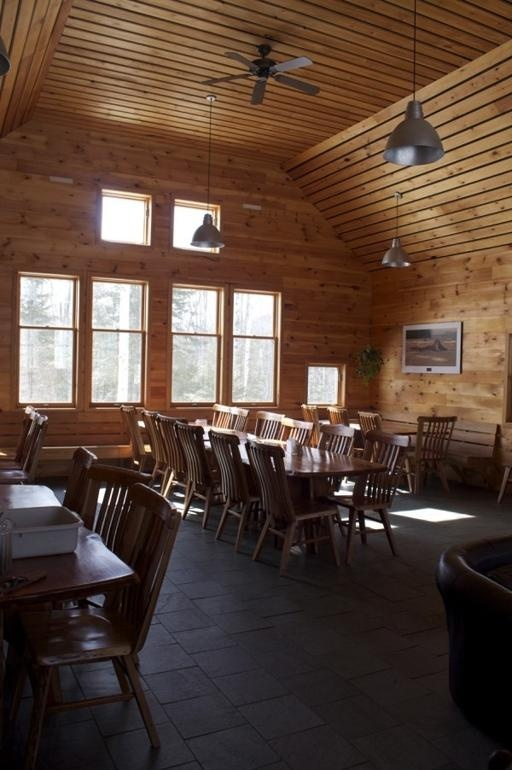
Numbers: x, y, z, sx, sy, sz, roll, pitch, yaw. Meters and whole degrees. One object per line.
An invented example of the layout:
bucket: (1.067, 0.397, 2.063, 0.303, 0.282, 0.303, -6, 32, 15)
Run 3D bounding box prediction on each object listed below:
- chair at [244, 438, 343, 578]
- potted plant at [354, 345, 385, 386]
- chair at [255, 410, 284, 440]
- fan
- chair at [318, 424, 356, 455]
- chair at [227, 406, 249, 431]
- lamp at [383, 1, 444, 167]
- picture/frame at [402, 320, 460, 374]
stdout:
chair: (0.277, 0.793, 3.989, 0.655, 0.632, 0.952, 3, 2, 12)
potted plant: (1.756, -0.326, 8.910, 0.447, 0.517, 0.313, 1, 14, 15)
chair: (0.153, 0.421, 6.027, 0.267, 0.405, 0.296, -1, -3, 36)
fan: (0.065, -2.732, 5.047, 0.761, 0.286, 0.739, -2, 11, -13)
chair: (0.708, 0.454, 4.972, 0.262, 0.372, 0.263, -1, -3, 32)
chair: (-0.172, 0.386, 6.416, 0.217, 0.362, 0.267, -1, -3, 38)
lamp: (0.891, -1.453, 3.226, 0.314, 0.634, 0.386, 3, 2, 15)
picture/frame: (2.467, -0.533, 7.967, 0.031, 0.560, 0.806, 1, 0, -30)
